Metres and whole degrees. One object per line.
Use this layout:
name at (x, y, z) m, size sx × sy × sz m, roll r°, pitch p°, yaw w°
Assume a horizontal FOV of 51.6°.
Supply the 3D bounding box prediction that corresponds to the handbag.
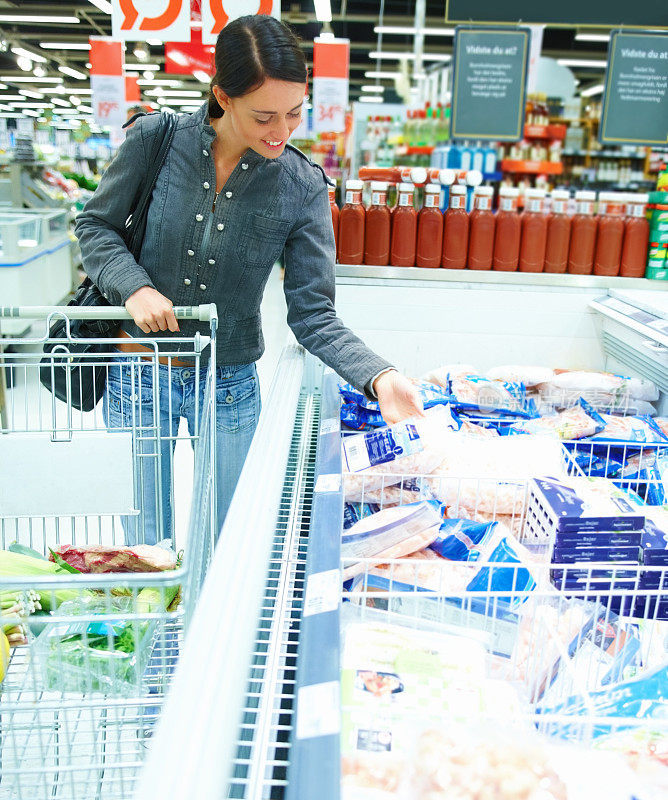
handbag at (-0.686, -0.120, 1.843) m, size 0.174 × 0.284 × 0.224 m, roll 1°, pitch 4°, yaw -16°
